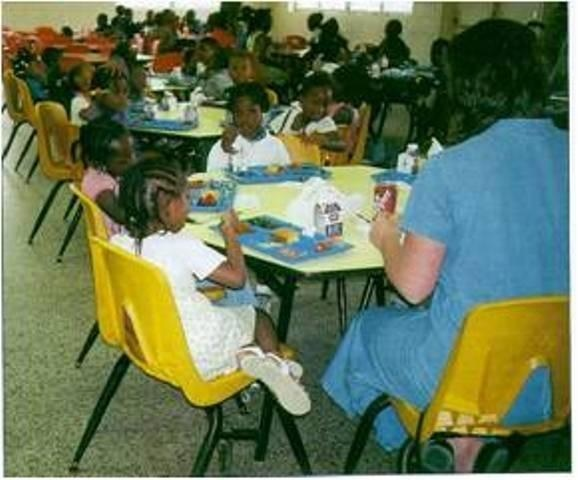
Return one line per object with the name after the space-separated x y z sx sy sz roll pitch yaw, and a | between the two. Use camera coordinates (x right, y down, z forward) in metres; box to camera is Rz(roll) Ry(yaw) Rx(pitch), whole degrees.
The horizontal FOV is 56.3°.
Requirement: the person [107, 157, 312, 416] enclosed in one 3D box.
-0.335 0.265 2.140 0.489 1.057 0.703 -23 30 -39 | person

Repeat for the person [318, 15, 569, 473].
0.595 0.061 1.833 0.738 1.453 0.615 -12 25 -22 | person
